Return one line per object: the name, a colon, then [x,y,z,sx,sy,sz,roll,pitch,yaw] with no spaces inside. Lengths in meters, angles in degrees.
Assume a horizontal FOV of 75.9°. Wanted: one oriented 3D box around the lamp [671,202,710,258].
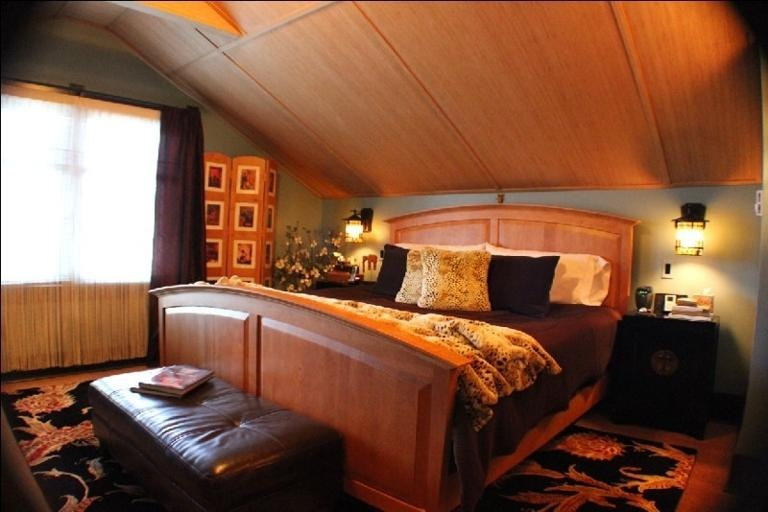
lamp: [2.438,-0.214,3.931,0.222,0.424,0.177,7,13,29]
